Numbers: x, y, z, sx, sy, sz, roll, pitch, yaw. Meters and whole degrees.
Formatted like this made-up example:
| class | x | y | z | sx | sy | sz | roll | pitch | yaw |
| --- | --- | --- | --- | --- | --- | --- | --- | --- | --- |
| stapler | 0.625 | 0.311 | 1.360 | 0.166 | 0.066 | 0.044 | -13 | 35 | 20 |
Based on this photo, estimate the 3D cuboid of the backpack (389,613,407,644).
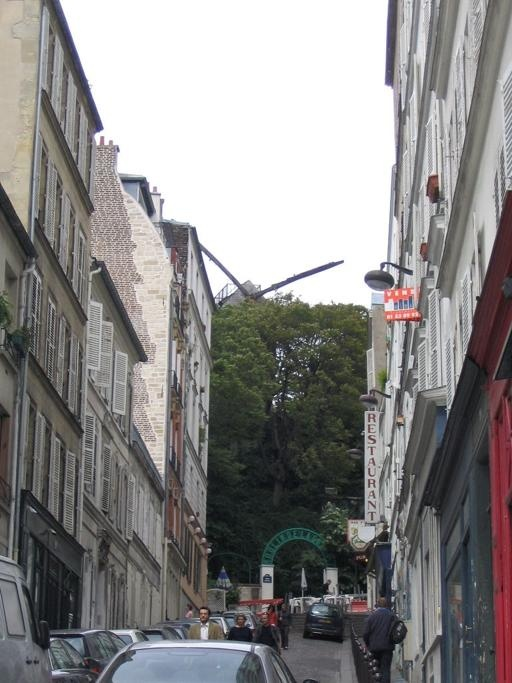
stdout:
| class | x | y | z | sx | sy | sz | roll | pitch | yaw |
| --- | --- | --- | --- | --- | --- | --- | --- | --- | --- |
| backpack | 2.307 | 4.680 | 24.732 | 0.243 | 0.480 | 0.606 | -2 | -18 | 5 |
